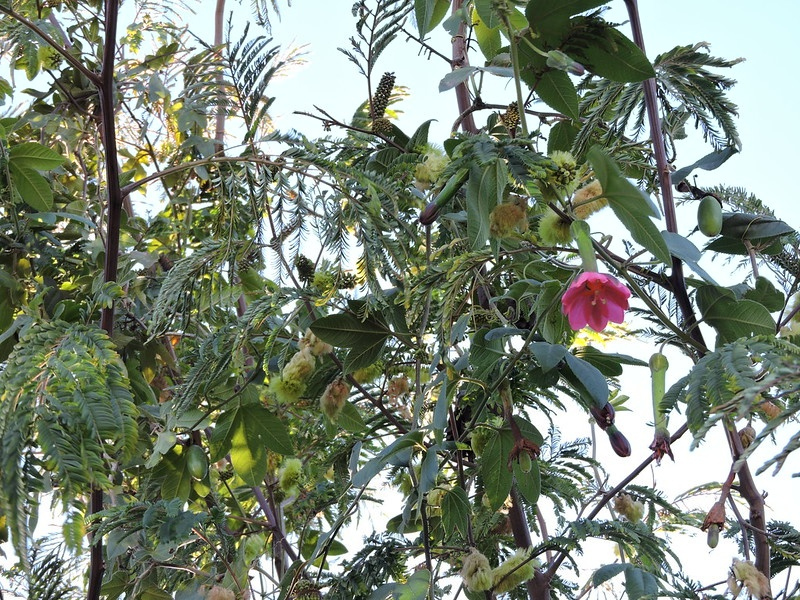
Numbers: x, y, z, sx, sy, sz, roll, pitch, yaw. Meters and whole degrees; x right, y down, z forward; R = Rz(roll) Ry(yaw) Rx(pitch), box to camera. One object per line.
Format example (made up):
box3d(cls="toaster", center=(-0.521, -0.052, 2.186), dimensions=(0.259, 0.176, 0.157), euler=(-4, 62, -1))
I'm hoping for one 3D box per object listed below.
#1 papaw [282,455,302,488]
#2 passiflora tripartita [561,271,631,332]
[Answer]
box3d(cls="papaw", center=(-0.210, 0.336, 1.824), dimensions=(0.037, 0.050, 0.025), euler=(12, -10, 13))
box3d(cls="passiflora tripartita", center=(0.284, -0.004, 1.359), dimensions=(0.089, 0.048, 0.082), euler=(38, -61, -25))
